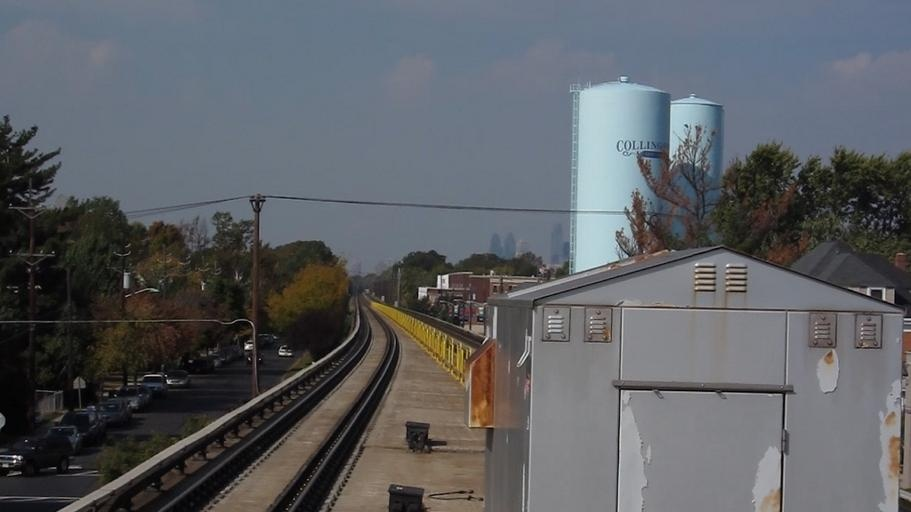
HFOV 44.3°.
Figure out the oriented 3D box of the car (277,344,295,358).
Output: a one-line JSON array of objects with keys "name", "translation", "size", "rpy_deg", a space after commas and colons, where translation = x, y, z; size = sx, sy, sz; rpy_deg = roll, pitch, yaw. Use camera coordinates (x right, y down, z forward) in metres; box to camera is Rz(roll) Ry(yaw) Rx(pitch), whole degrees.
[{"name": "car", "translation": [-20.303, 11.338, 133.691], "size": [1.304, 1.181, 2.475], "rpy_deg": [1, 5, -8]}]
